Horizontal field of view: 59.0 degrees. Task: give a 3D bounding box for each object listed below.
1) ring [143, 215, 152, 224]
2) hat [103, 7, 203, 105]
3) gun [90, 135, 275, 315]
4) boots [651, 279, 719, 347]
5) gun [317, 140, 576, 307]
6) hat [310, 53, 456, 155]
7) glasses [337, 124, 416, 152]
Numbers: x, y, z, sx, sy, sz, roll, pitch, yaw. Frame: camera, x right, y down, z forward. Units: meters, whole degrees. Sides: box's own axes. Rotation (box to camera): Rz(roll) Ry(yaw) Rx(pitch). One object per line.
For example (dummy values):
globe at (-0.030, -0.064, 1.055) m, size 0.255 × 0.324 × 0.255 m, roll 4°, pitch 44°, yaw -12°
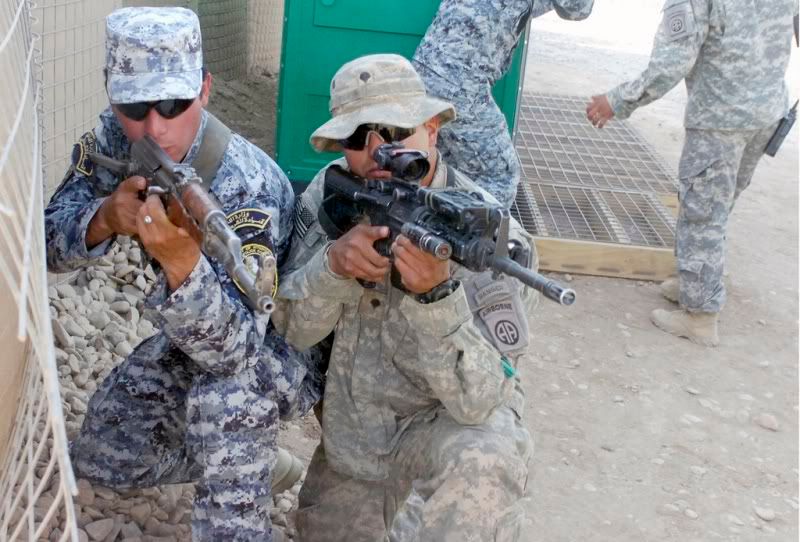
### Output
ring at (-1.067, -0.217, 2.991) m, size 0.032 × 0.032 × 0.031 m, roll 41°, pitch 3°, yaw -3°
hat at (-1.149, -0.994, 3.286) m, size 0.441 × 0.288 × 0.451 m, roll -9°, pitch 42°, yaw -16°
gun at (-0.993, -0.233, 3.231) m, size 0.237 × 0.557 × 1.698 m, roll -9°, pitch 39°, yaw -28°
boots at (2.445, 0.355, 6.098) m, size 0.416 × 0.174 × 0.534 m, roll -28°, pitch 31°, yaw -36°
gun at (0.103, -0.141, 3.071) m, size 0.324 × 0.685 × 1.456 m, roll -16°, pitch 31°, yaw -37°
hat at (-0.149, -0.729, 3.459) m, size 0.523 × 0.291 × 0.508 m, roll -13°, pitch 13°, yaw 32°
glasses at (-0.120, -0.641, 3.347) m, size 0.172 × 0.052 × 0.180 m, roll -5°, pitch -14°, yaw 16°
